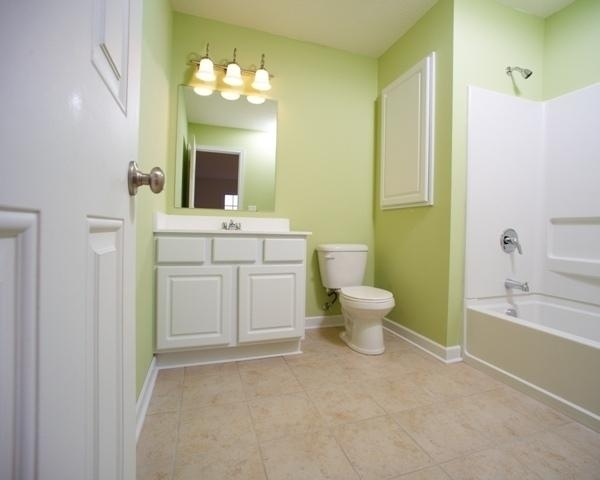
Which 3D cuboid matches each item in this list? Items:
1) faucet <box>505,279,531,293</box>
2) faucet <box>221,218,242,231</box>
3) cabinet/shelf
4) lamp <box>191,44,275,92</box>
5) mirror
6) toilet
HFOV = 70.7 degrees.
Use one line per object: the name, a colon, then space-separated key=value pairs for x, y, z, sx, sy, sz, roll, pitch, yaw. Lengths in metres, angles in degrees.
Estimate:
faucet: x=1.385 y=0.283 z=2.679 sx=0.077 sy=0.082 sz=0.141 roll=-2 pitch=3 yaw=-24
faucet: x=-0.470 y=-0.101 z=2.984 sx=0.122 sy=0.080 sz=0.098 roll=0 pitch=3 yaw=-13
cabinet/shelf: x=-0.439 y=0.342 z=2.521 sx=0.634 sy=0.574 sz=0.245 roll=-1 pitch=7 yaw=-18
lamp: x=-0.465 y=-1.228 z=2.967 sx=0.564 sy=0.329 sz=0.150 roll=2 pitch=-7 yaw=-23
mirror: x=-0.559 y=-0.667 z=3.027 sx=0.760 sy=1.085 sz=0.069 roll=1 pitch=4 yaw=-19
toilet: x=0.403 y=0.372 z=2.933 sx=0.329 sy=0.702 sz=0.616 roll=-3 pitch=5 yaw=-28
